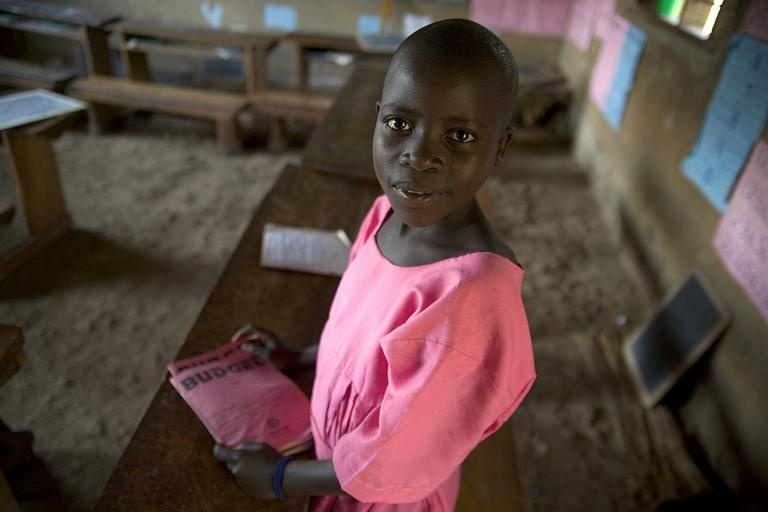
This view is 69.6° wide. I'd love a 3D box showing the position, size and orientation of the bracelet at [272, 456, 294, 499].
[{"bbox_3d":[-0.236,0.491,1.231,0.025,0.065,0.073,2,68,-1],"label":"bracelet"}]
